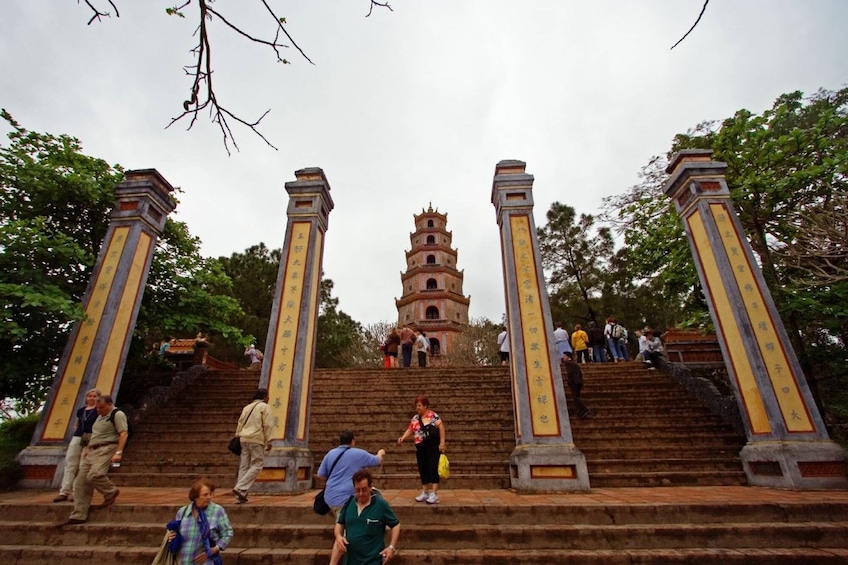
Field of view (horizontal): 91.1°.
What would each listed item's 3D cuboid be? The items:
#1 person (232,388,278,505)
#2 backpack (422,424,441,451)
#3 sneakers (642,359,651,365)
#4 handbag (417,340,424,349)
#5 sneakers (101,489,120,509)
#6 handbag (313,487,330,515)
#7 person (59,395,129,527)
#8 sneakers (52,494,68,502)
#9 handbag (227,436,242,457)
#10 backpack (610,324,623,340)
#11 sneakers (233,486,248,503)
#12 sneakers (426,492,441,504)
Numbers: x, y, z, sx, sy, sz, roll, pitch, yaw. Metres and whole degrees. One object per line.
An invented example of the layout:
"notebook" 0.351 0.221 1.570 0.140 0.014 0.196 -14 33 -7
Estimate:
"person" -3.010 2.733 7.113 0.579 1.747 0.373 6 -23 -19
"backpack" 0.106 2.464 6.694 0.273 0.396 0.199 -1 -21 -2
"sneakers" 7.021 2.466 12.914 0.195 0.159 0.125 -1 -34 4
"handbag" -0.159 2.286 15.294 0.423 0.382 0.262 -1 -20 2
"sneakers" -5.067 3.382 6.575 0.167 0.158 0.418 3 -11 -13
"handbag" -1.371 2.853 5.442 0.171 0.285 0.278 2 -20 -8
"person" -5.140 2.705 6.512 0.552 1.851 0.934 13 -25 -33
"sneakers" -6.138 3.524 6.872 0.121 0.111 0.319 13 -21 -40
"handbag" -3.254 2.734 7.021 0.191 0.273 0.247 6 -21 -19
"backpack" 6.979 1.738 14.861 0.453 0.533 0.577 6 -10 -37
"sneakers" -3.068 3.448 6.783 0.149 0.345 0.165 -10 5 8
"sneakers" 0.122 3.337 6.505 0.228 0.147 0.286 -1 -18 -1
